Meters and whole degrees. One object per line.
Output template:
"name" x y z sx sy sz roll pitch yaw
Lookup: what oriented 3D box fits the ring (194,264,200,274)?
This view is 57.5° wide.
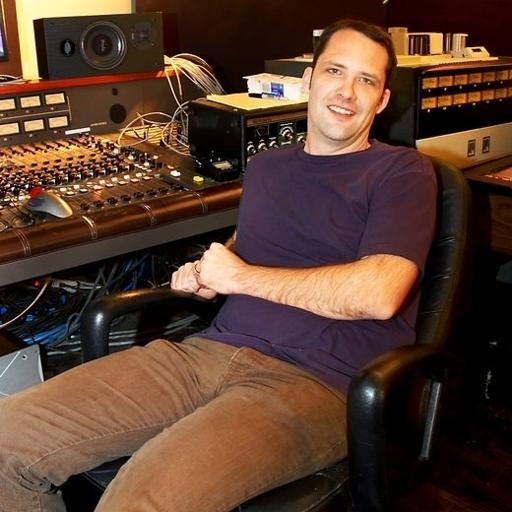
"ring" -0.152 0.031 1.188 0.006 0.019 0.022 -5 15 -12

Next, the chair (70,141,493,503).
"chair" 0.067 0.091 1.185 0.795 0.752 0.690 3 3 -44
